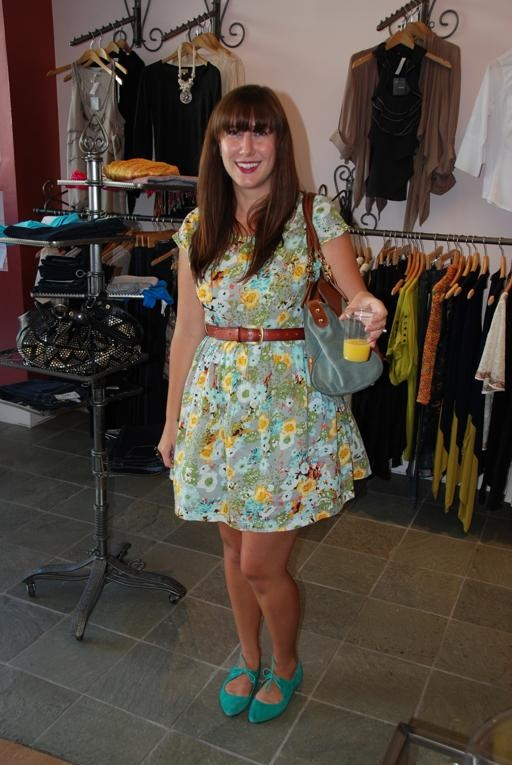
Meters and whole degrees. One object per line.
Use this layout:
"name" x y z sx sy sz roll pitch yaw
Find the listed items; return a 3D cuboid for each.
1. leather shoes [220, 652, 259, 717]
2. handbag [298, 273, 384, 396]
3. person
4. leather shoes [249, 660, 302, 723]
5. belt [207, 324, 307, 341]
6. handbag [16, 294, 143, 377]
"leather shoes" -0.043 0.801 1.561 0.065 0.052 0.180 10 40 14
"handbag" 0.165 -0.088 1.114 0.141 0.224 0.047 -14 7 -39
"person" 0.055 0.144 1.331 0.646 1.532 0.339 10 13 39
"leather shoes" 0.048 0.816 1.568 0.072 0.076 0.204 6 32 33
"belt" -0.015 -0.104 1.230 0.224 0.037 0.083 5 11 17
"handbag" -0.594 -0.204 1.786 0.284 0.135 0.278 -17 30 -39
